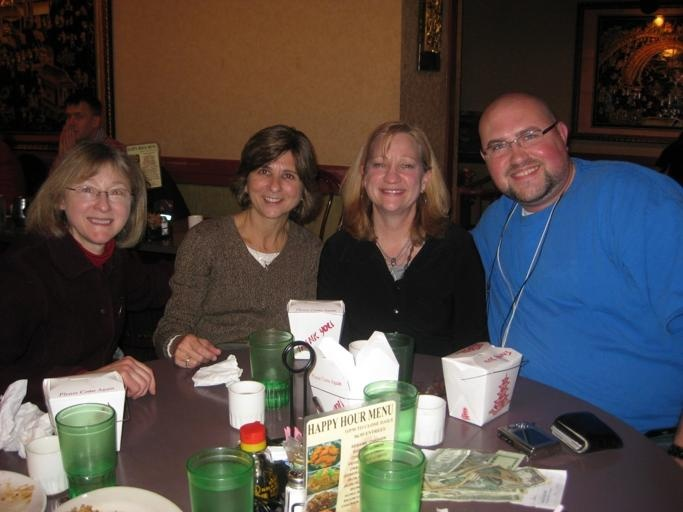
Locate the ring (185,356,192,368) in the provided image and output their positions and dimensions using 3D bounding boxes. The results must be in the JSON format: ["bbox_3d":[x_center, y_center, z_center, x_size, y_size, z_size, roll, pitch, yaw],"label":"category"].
[{"bbox_3d":[-0.501,0.350,1.873,0.021,0.027,0.025,-5,-16,4],"label":"ring"}]

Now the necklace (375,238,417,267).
[{"bbox_3d":[0.260,-0.003,2.511,0.160,0.119,0.027,4,-10,11],"label":"necklace"}]

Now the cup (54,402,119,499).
[{"bbox_3d":[-0.589,0.451,1.350,0.126,0.193,0.130,-2,15,1],"label":"cup"}]

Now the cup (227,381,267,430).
[{"bbox_3d":[-0.253,0.388,1.524,0.089,0.103,0.120,5,6,37],"label":"cup"}]

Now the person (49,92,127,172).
[{"bbox_3d":[-2.149,-1.041,4.881,0.951,0.604,0.467,10,11,22],"label":"person"}]

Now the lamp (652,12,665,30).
[{"bbox_3d":[3.914,-2.925,7.123,0.143,0.167,0.146,9,27,31],"label":"lamp"}]

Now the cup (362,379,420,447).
[{"bbox_3d":[0.103,0.366,1.368,0.135,0.153,0.146,0,7,0],"label":"cup"}]

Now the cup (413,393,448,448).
[{"bbox_3d":[0.224,0.434,1.539,0.112,0.125,0.116,1,5,0],"label":"cup"}]
